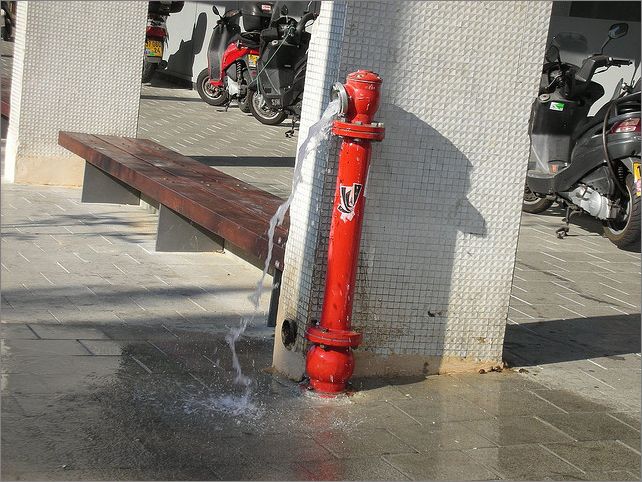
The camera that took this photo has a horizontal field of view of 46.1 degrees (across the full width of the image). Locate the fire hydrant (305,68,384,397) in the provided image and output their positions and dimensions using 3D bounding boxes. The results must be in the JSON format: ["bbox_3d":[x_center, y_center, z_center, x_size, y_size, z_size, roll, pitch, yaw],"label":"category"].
[{"bbox_3d":[0.130,-0.024,4.014,0.363,1.729,0.458,8,19,-10],"label":"fire hydrant"}]

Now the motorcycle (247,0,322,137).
[{"bbox_3d":[-0.700,-2.854,12.306,0.892,2.191,1.622,8,19,-9],"label":"motorcycle"}]
